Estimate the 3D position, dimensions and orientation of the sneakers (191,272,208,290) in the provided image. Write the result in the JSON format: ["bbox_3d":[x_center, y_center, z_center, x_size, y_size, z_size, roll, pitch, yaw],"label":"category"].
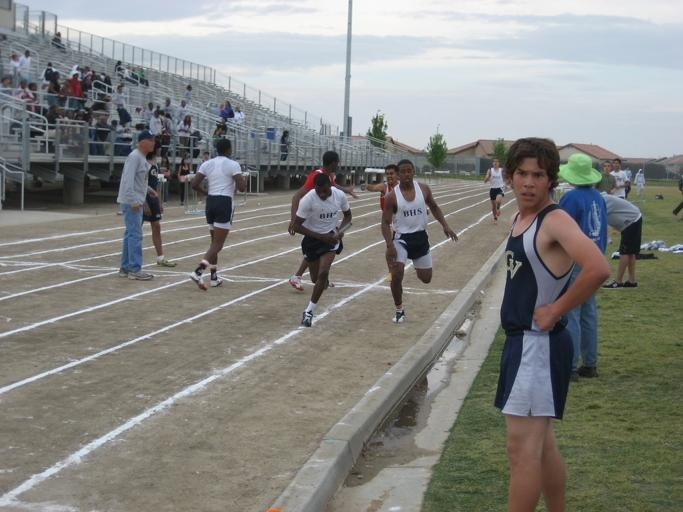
[{"bbox_3d":[-2.470,0.458,10.716,0.112,0.331,0.148,-19,42,27],"label":"sneakers"}]

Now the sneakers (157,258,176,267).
[{"bbox_3d":[-3.523,0.145,12.772,0.493,0.216,0.172,1,11,-22],"label":"sneakers"}]

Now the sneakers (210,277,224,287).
[{"bbox_3d":[-2.214,0.473,11.010,0.094,0.114,0.263,2,11,14],"label":"sneakers"}]

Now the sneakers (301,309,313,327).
[{"bbox_3d":[-0.475,0.864,8.648,0.144,0.220,0.224,-1,9,-11],"label":"sneakers"}]

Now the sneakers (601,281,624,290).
[{"bbox_3d":[4.883,0.541,11.236,0.490,0.187,0.191,0,-1,14],"label":"sneakers"}]

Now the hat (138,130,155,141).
[{"bbox_3d":[-3.630,-2.212,11.511,0.250,0.201,0.673,-2,9,-17],"label":"hat"}]

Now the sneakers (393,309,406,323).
[{"bbox_3d":[0.846,0.861,9.022,0.186,0.193,0.303,2,9,5],"label":"sneakers"}]

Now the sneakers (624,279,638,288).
[{"bbox_3d":[5.207,0.508,11.077,0.227,0.095,0.116,4,4,23],"label":"sneakers"}]

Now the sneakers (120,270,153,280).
[{"bbox_3d":[-3.755,0.344,11.371,0.588,0.255,0.210,-1,10,-9],"label":"sneakers"}]
